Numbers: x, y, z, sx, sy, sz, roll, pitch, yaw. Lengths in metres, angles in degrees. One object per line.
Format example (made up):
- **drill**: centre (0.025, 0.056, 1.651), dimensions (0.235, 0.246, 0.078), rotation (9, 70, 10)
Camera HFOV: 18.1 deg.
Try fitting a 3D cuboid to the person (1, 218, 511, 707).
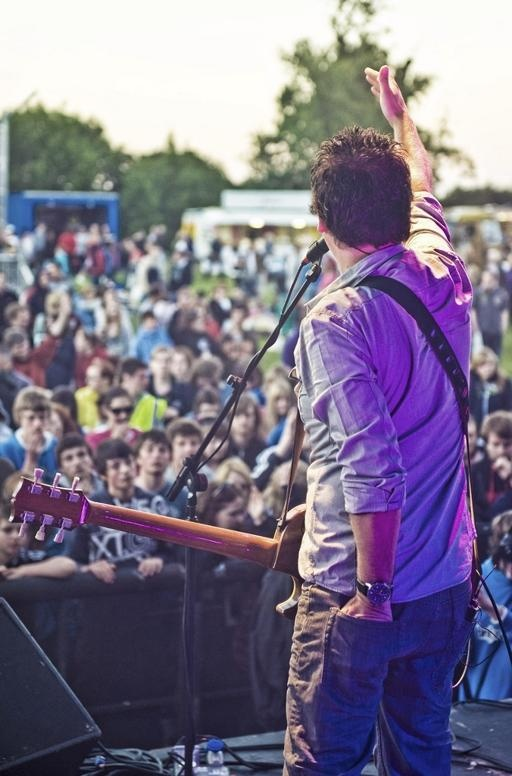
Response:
- **person**: centre (-0.102, 0.380, 6.930), dimensions (2.377, 0.933, 0.343), rotation (7, -12, -8)
